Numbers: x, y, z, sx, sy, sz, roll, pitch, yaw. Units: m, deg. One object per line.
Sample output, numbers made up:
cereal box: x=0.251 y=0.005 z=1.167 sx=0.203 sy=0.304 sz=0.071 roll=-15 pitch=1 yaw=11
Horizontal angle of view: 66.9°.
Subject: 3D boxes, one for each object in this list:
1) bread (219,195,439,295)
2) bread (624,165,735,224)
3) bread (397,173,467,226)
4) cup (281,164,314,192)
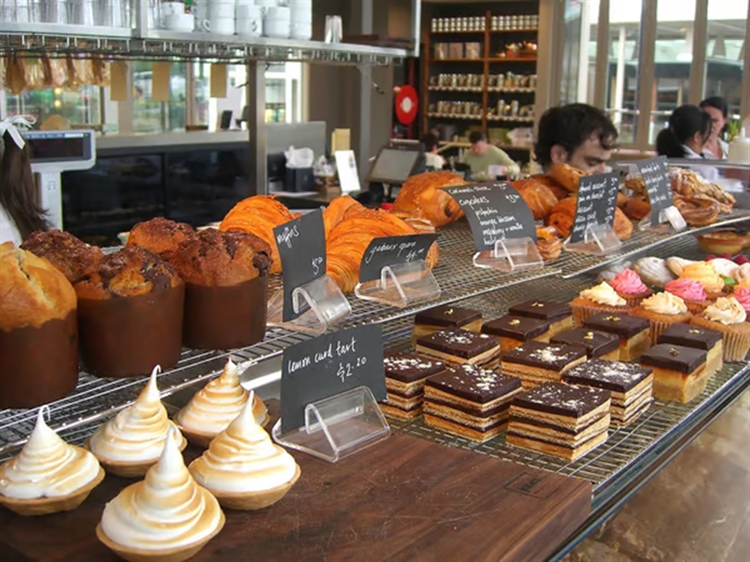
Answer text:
bread: x=-0.099 y=-0.110 z=1.307 sx=0.393 sy=0.120 sz=0.302 roll=-4 pitch=9 yaw=-25
bread: x=1.250 y=-0.348 z=2.381 sx=0.399 sy=0.116 sz=0.323 roll=9 pitch=25 yaw=27
bread: x=0.161 y=-0.236 z=1.798 sx=0.232 sy=0.082 sz=0.164 roll=14 pitch=51 yaw=15
cup: x=-0.732 y=-0.918 z=5.292 sx=0.231 sy=0.285 sz=0.335 roll=6 pitch=11 yaw=37
